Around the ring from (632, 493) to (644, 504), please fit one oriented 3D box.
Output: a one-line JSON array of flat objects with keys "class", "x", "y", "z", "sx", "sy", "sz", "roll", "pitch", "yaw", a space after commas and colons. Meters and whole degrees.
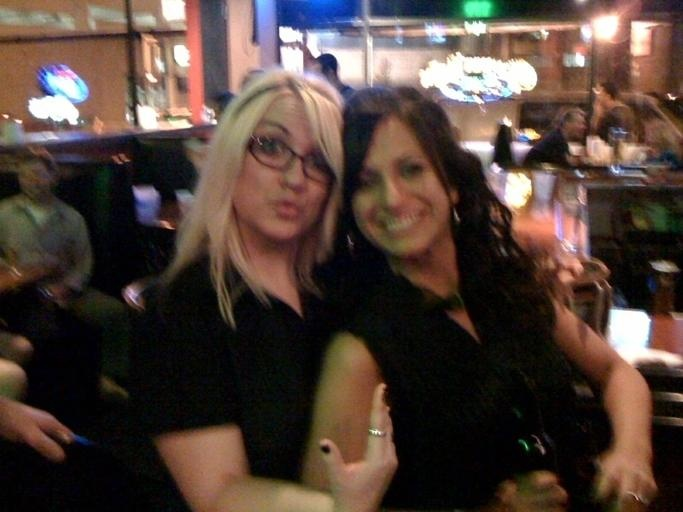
[{"class": "ring", "x": 0.756, "y": 0.622, "z": 1.396, "sx": 0.018, "sy": 0.004, "sz": 0.018, "roll": -3, "pitch": 25, "yaw": 1}]
